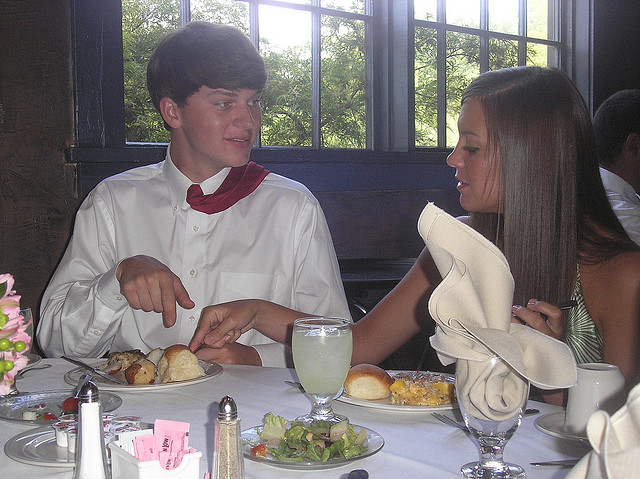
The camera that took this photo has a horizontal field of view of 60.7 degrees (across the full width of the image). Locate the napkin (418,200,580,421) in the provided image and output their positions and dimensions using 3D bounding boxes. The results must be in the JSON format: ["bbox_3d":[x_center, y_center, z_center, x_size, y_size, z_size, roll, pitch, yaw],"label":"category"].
[{"bbox_3d":[0.357,0.107,1.008,0.134,0.327,0.347,-10,-13,-45],"label":"napkin"}]

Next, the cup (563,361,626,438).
[{"bbox_3d":[0.542,0.312,1.101,0.113,0.137,0.136,-2,7,4],"label":"cup"}]

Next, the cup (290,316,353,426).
[{"bbox_3d":[0.008,0.280,1.162,0.125,0.227,0.240,-2,7,0],"label":"cup"}]

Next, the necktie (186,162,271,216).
[{"bbox_3d":[-0.368,-0.216,2.272,0.149,0.207,0.345,4,9,39],"label":"necktie"}]

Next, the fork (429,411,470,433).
[{"bbox_3d":[0.270,0.374,1.167,0.018,0.016,0.127,-27,22,-33],"label":"fork"}]

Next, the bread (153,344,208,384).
[{"bbox_3d":[-0.377,0.346,1.534,0.138,0.111,0.205,0,-19,-10],"label":"bread"}]
